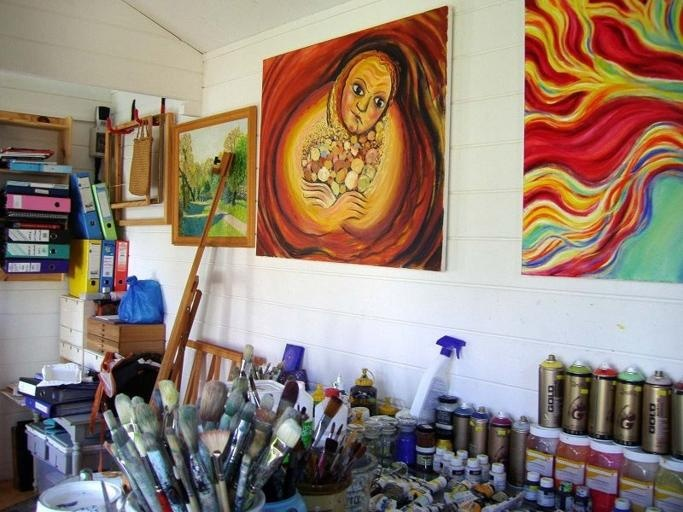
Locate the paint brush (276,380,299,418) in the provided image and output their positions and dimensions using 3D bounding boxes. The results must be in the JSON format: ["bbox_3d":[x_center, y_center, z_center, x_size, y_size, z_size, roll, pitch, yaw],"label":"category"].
[{"bbox_3d":[-0.135,0.369,1.257,0.030,0.125,0.015,20,-35,7],"label":"paint brush"}]

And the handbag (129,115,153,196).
[{"bbox_3d":[-1.500,-0.724,3.721,0.142,0.578,0.379,5,-2,-26],"label":"handbag"}]

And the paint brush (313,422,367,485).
[{"bbox_3d":[0.003,0.545,1.354,0.097,0.112,0.166,4,-2,26],"label":"paint brush"}]

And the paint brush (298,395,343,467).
[{"bbox_3d":[-0.054,0.454,1.360,0.058,0.271,0.022,26,-8,-14],"label":"paint brush"}]

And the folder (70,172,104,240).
[{"bbox_3d":[-2.138,-0.409,4.102,0.350,0.596,0.199,4,-2,24],"label":"folder"}]

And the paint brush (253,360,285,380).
[{"bbox_3d":[-0.352,0.506,2.306,0.111,0.087,0.182,7,-12,-39],"label":"paint brush"}]

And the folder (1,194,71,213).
[{"bbox_3d":[-2.313,-0.399,3.779,0.410,0.167,0.030,6,-3,-37],"label":"folder"}]

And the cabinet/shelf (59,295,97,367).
[{"bbox_3d":[-2.186,0.672,4.138,0.309,0.577,0.183,5,1,28],"label":"cabinet/shelf"}]

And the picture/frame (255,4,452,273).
[{"bbox_3d":[0.090,-0.587,2.479,0.021,1.436,1.315,0,2,-41],"label":"picture/frame"}]
